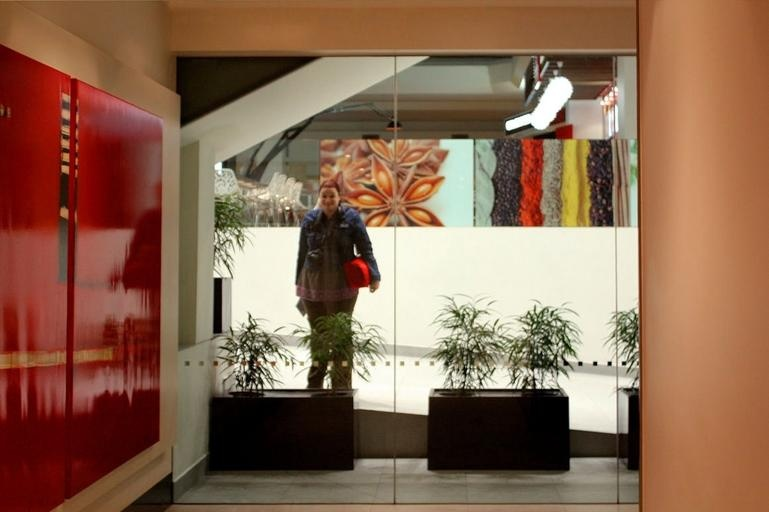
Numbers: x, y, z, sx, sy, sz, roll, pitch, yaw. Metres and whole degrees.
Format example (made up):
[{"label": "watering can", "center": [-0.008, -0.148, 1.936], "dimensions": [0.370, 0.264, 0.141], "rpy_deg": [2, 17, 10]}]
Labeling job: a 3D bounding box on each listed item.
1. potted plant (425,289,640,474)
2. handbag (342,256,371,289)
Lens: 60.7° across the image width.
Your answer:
[{"label": "potted plant", "center": [1.051, 0.844, 4.384], "dimensions": [1.281, 1.093, 0.536], "rpy_deg": [0, 1, 2]}, {"label": "handbag", "center": [-0.177, 0.121, 4.550], "dimensions": [0.173, 0.228, 0.238], "rpy_deg": [-9, 0, 6]}]
